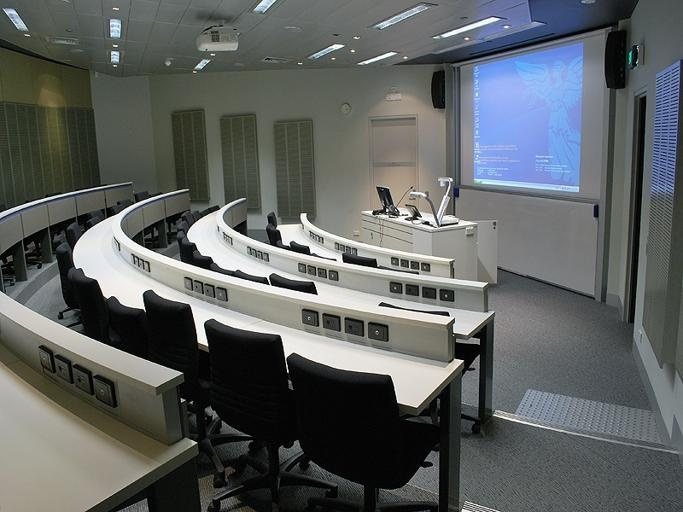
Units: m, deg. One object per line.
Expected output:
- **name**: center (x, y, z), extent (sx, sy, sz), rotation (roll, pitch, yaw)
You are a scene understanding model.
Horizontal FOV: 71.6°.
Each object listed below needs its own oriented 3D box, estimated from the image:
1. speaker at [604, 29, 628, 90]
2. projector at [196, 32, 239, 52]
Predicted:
- **speaker**: center (3.394, -2.438, 5.847), extent (0.256, 0.702, 0.240), rotation (6, 15, 31)
- **projector**: center (-1.764, -3.071, 6.824), extent (0.526, 0.332, 0.133), rotation (1, 7, 2)
